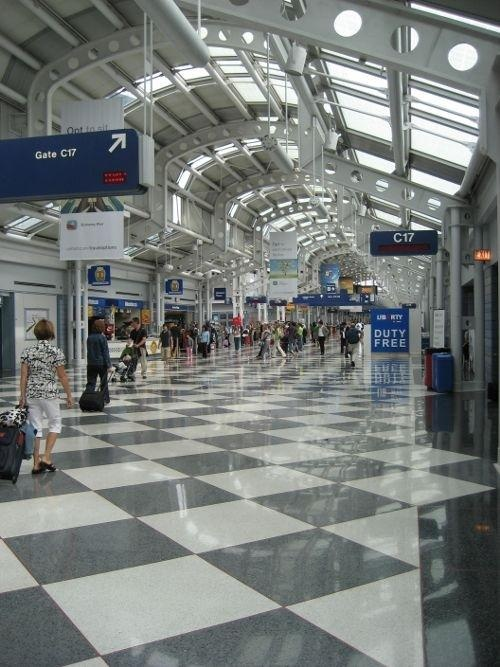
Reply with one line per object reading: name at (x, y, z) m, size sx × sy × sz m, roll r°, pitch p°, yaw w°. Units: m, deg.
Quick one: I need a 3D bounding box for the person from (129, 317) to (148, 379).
person at (-3.202, 0.448, 14.455) m, size 0.454 × 1.736 × 1.297 m, roll -1°, pitch -1°, yaw -12°

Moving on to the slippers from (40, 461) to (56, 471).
slippers at (-1.843, 1.235, 4.615) m, size 0.144 × 0.055 × 0.077 m, roll 3°, pitch 0°, yaw 6°
